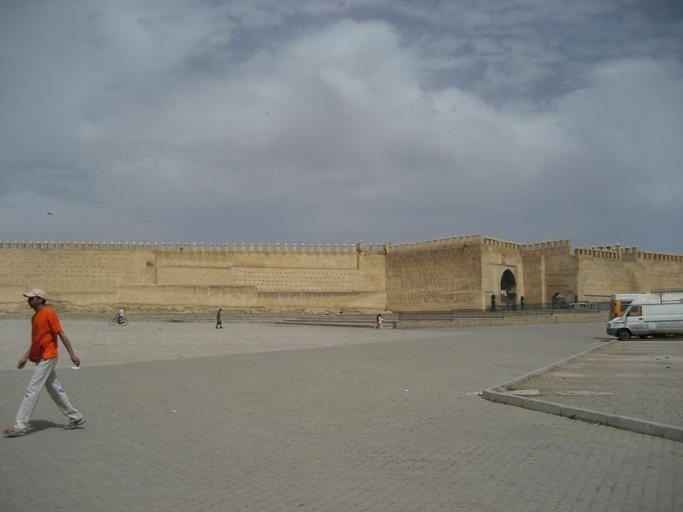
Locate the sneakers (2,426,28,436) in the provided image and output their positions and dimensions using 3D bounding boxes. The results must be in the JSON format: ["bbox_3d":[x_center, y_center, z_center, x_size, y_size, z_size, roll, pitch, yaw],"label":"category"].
[{"bbox_3d":[-3.789,2.019,8.771,0.229,0.094,0.111,9,-8,-24],"label":"sneakers"}]

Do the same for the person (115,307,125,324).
[{"bbox_3d":[-10.114,2.698,34.661,0.531,0.514,0.809,8,-39,-9],"label":"person"}]
